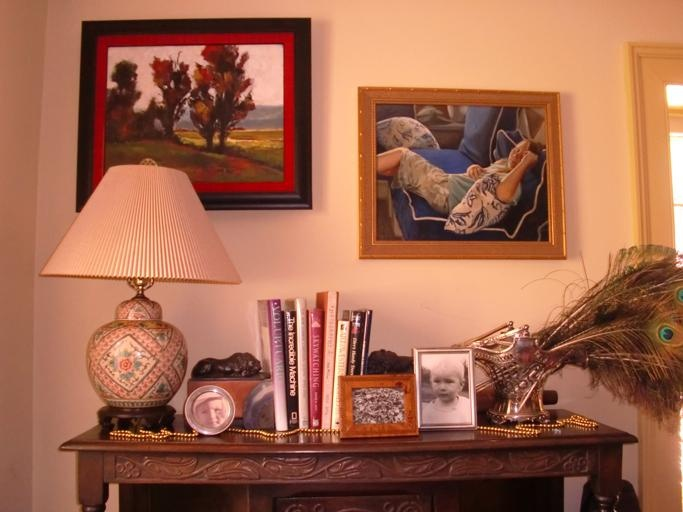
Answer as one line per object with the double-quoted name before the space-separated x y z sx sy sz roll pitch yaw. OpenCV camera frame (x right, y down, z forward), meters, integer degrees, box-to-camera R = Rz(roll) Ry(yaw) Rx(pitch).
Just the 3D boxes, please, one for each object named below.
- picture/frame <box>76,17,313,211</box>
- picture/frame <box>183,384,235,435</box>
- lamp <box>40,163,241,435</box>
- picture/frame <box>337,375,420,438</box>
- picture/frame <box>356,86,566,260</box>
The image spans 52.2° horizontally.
"picture/frame" -0.582 -0.528 2.686 0.739 0.652 0.060 0 -1 -1
"picture/frame" -0.428 0.545 2.356 0.159 0.168 0.037 18 42 38
"lamp" -0.668 0.140 2.331 0.646 0.898 0.231 0 -1 -10
"picture/frame" 0.116 0.499 2.283 0.186 0.163 0.016 0 -12 -5
"picture/frame" 0.440 -0.304 2.746 0.645 0.570 0.047 1 -7 -8
